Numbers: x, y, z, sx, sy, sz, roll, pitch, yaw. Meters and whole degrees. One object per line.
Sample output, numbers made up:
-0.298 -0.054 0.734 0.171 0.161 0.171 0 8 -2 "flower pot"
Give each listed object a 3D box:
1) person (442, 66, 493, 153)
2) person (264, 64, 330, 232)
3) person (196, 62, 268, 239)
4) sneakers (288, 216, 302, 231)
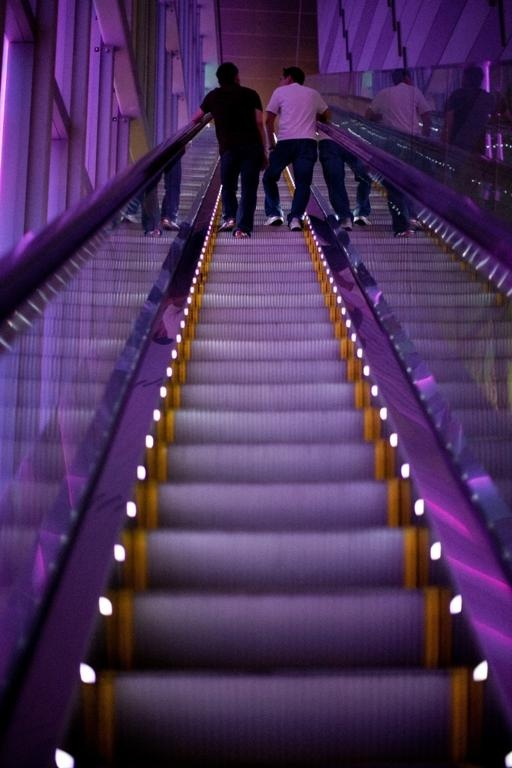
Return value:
2.379 -3.091 6.183 0.302 1.148 0.834 1 1 -5 "person"
0.397 -2.546 6.058 0.465 2.155 0.538 -1 -17 15 "person"
-0.229 -2.591 5.888 0.662 1.595 0.450 2 1 30 "person"
0.418 -1.724 5.867 0.127 0.135 0.240 3 1 2 "sneakers"
